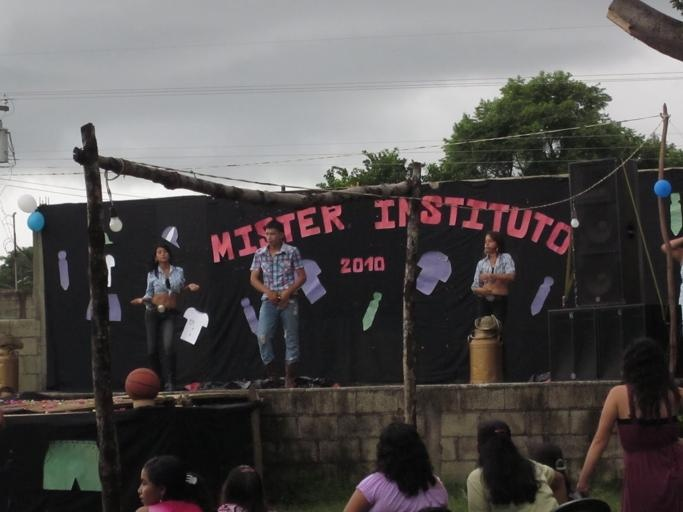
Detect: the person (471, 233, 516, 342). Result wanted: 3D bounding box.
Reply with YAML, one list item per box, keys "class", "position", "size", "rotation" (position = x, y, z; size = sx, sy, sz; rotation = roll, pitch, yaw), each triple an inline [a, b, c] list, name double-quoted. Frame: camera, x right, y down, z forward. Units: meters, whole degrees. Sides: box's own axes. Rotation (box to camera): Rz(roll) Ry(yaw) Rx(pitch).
- class: "person"
  position: [2.841, 0.421, 27.703]
  size: [0.818, 1.711, 0.537]
  rotation: [-2, -4, 25]

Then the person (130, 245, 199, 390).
- class: "person"
  position: [-3.565, 1.233, 29.074]
  size: [0.968, 2.878, 0.975]
  rotation: [0, -4, -8]
